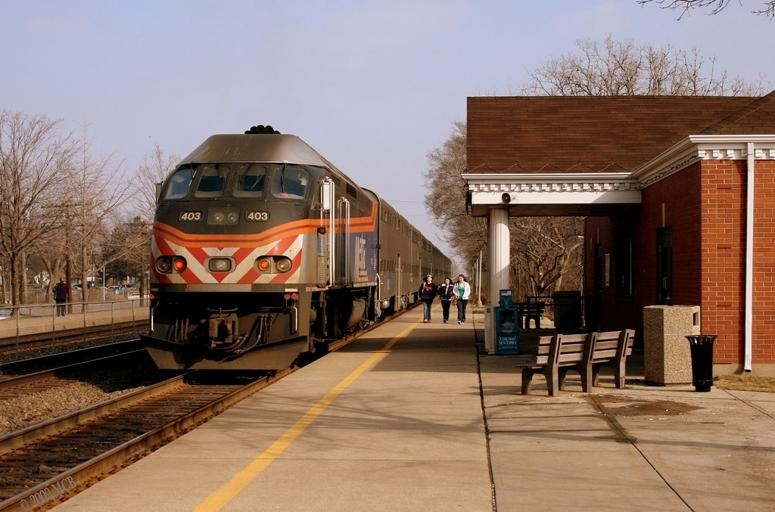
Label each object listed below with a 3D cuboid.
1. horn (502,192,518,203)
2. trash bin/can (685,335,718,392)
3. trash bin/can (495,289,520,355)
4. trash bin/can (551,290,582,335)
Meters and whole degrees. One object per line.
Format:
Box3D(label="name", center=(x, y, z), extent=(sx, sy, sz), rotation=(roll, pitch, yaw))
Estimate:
Box3D(label="horn", center=(3.010, -1.457, 18.169), extent=(0.392, 0.283, 0.085), rotation=(0, -4, 8))
Box3D(label="trash bin/can", center=(5.669, 1.940, 13.191), extent=(0.433, 0.996, 0.352), rotation=(-1, -4, 22))
Box3D(label="trash bin/can", center=(3.027, 1.668, 18.534), extent=(0.514, 1.653, 0.448), rotation=(-1, -4, 15))
Box3D(label="trash bin/can", center=(6.168, 1.876, 25.091), extent=(0.950, 1.386, 2.134), rotation=(-1, -4, 14))
